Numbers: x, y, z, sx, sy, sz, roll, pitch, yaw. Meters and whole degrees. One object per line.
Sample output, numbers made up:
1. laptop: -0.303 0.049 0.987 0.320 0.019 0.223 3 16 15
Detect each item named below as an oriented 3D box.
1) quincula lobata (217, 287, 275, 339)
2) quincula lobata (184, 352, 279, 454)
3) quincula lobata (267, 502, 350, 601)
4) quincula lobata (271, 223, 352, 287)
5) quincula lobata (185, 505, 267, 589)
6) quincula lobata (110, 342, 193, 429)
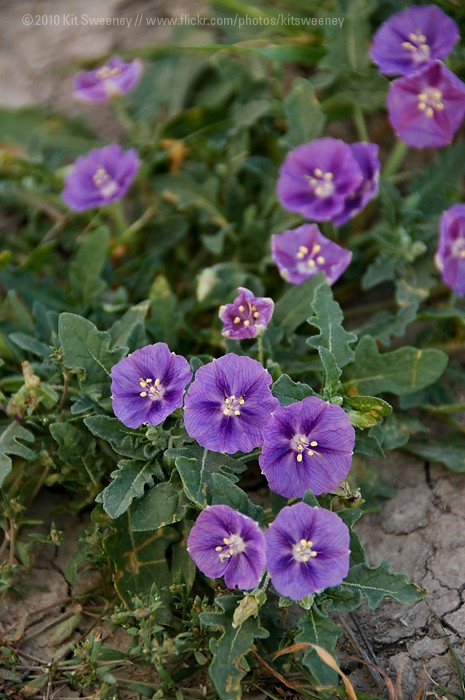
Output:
1. quincula lobata: 0.060 -0.111 1.799 0.128 0.052 0.131 9 -16 -35
2. quincula lobata: 0.007 0.171 1.634 0.208 0.263 0.221 10 43 21
3. quincula lobata: 0.158 0.472 1.498 0.235 0.077 0.233 -8 19 -20
4. quincula lobata: 0.246 -0.306 2.098 0.262 0.203 0.138 11 2 21
5. quincula lobata: -0.001 0.479 1.526 0.088 0.205 0.230 -23 0 -38
6. quincula lobata: -0.209 0.113 1.760 0.240 0.215 0.106 -29 -10 -4
